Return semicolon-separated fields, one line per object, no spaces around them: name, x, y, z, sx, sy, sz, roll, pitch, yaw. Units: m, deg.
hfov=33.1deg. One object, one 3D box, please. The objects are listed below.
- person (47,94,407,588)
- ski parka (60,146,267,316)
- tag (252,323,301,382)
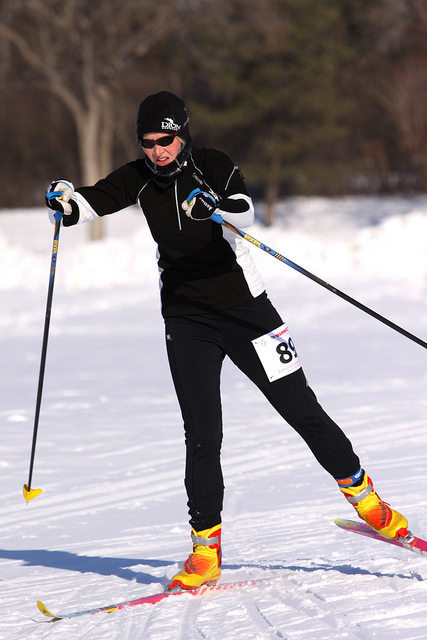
person;0.033;0.069;2.117;1.010;1.443;0.354;-3;9;0
ski parka;-0.132;-0.241;2.053;0.568;0.478;0.411;-6;12;12
tag;0.194;0.098;2.099;0.029;0.138;0.199;-19;0;36
